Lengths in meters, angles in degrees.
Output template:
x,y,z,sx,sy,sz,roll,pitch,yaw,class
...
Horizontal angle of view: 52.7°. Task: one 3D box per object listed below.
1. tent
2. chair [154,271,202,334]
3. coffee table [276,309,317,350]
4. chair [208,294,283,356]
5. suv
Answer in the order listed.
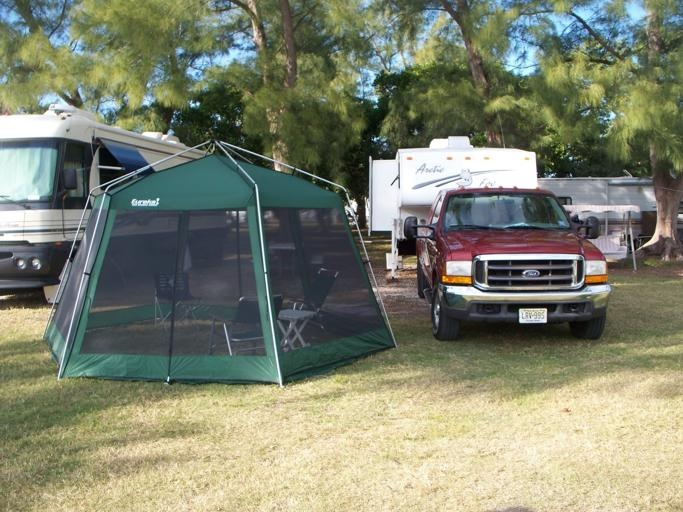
x,y,z,sx,sy,sz,roll,pitch,yaw,class
-1.545,-0.331,9.613,3.773,2.420,3.955,-2,11,8,tent
-2.049,0.570,8.149,0.401,0.725,0.454,0,8,28,chair
-0.561,0.891,8.526,0.429,0.451,0.450,0,5,13,coffee table
-1.180,0.785,8.435,0.635,1.024,0.722,0,3,-23,chair
2.292,0.056,10.427,1.849,1.436,3.007,0,1,0,suv
